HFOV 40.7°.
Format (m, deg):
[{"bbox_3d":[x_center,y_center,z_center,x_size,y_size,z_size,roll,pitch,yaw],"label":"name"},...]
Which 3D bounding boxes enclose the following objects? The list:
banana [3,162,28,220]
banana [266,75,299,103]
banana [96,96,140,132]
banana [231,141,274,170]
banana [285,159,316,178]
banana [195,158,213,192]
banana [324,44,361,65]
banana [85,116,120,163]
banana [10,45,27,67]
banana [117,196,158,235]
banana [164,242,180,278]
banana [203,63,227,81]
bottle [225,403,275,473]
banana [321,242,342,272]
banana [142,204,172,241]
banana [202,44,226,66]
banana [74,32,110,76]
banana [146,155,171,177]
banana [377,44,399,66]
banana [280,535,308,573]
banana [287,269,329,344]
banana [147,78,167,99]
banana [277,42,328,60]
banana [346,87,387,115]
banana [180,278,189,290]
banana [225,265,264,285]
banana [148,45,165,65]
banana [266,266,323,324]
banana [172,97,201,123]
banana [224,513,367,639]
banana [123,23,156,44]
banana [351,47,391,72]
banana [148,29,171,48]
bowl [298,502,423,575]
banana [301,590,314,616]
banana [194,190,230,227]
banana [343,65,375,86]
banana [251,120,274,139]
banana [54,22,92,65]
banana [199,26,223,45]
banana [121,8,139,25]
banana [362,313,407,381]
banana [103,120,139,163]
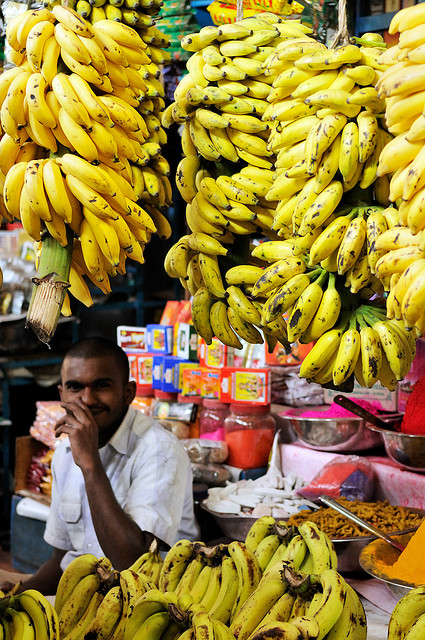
[{"bbox_3d":[-0.314,-0.206,0.898,0.022,0.069,0.055,2,-6,-31],"label":"banana"},{"bbox_3d":[0.108,-0.368,0.936,0.024,0.020,0.066,23,-34,-33],"label":"banana"},{"bbox_3d":[-0.142,-0.319,0.889,0.029,0.039,0.103,-22,6,7],"label":"banana"},{"bbox_3d":[0.078,-0.313,1.085,0.083,0.022,0.029,24,33,-2],"label":"banana"},{"bbox_3d":[0.134,-0.231,0.893,0.020,0.018,0.057,9,-3,-14],"label":"banana"},{"bbox_3d":[-0.019,-0.302,1.177,0.025,0.093,0.036,-1,-17,9],"label":"banana"},{"bbox_3d":[0.196,-0.395,0.857,0.056,0.029,0.021,-10,35,-5],"label":"banana"},{"bbox_3d":[-0.163,-0.269,0.857,0.023,0.079,0.026,-40,18,-21],"label":"banana"},{"bbox_3d":[-0.319,-0.429,0.932,0.023,0.029,0.013,0,16,-8],"label":"banana"},{"bbox_3d":[-0.126,-0.175,0.970,0.027,0.025,0.078,47,5,38],"label":"banana"},{"bbox_3d":[-0.090,-0.136,1.281,0.028,0.074,0.021,0,6,-5],"label":"banana"},{"bbox_3d":[0.001,-0.455,1.054,0.049,0.023,0.023,24,17,35],"label":"banana"},{"bbox_3d":[0.139,0.515,2.523,0.200,0.273,0.215,1,-11,0],"label":"bottle"},{"bbox_3d":[0.183,-0.099,0.906,0.021,0.040,0.014,18,35,-24],"label":"banana"},{"bbox_3d":[-0.105,-0.193,1.203,0.029,0.103,0.035,-8,45,30],"label":"banana"},{"bbox_3d":[0.000,-0.493,1.069,0.023,0.030,0.058,15,19,-40],"label":"banana"},{"bbox_3d":[-0.176,-0.399,0.858,0.022,0.079,0.028,-30,12,22],"label":"banana"},{"bbox_3d":[-0.100,-0.293,1.097,0.062,0.033,0.020,26,0,24],"label":"banana"},{"bbox_3d":[0.224,-0.335,0.728,0.023,0.019,0.069,31,36,18],"label":"banana"},{"bbox_3d":[0.125,0.363,0.899,0.018,0.021,0.064,6,32,23],"label":"banana"},{"bbox_3d":[0.146,-0.017,0.939,0.036,0.130,0.044,32,-4,-11],"label":"banana"},{"bbox_3d":[-0.111,-0.462,1.136,0.016,0.018,0.056,-25,63,-22],"label":"banana"},{"bbox_3d":[0.137,-0.426,0.904,0.100,0.028,0.029,-12,18,-20],"label":"banana"},{"bbox_3d":[0.224,-0.316,0.824,0.027,0.035,0.100,-25,-5,43],"label":"banana"},{"bbox_3d":[-0.066,-0.083,1.322,0.013,0.036,0.010,-19,26,-5],"label":"banana"},{"bbox_3d":[0.060,-0.084,1.097,0.063,0.022,0.033,-3,38,19],"label":"banana"},{"bbox_3d":[-0.109,-0.517,1.135,0.014,0.050,0.017,-24,-3,-25],"label":"banana"},{"bbox_3d":[0.121,-0.039,0.935,0.037,0.136,0.048,43,-3,9],"label":"banana"},{"bbox_3d":[-0.057,-0.398,1.101,0.046,0.022,0.068,-22,-5,-2],"label":"banana"},{"bbox_3d":[0.111,0.375,0.838,0.134,0.093,0.272,-15,21,-4],"label":"banana"},{"bbox_3d":[-0.136,-0.536,1.098,0.071,0.019,0.023,33,-4,5],"label":"banana"},{"bbox_3d":[0.248,-0.403,0.890,0.036,0.024,0.102,-12,14,5],"label":"banana"},{"bbox_3d":[-0.097,-0.561,1.141,0.017,0.020,0.065,-34,-8,39],"label":"banana"},{"bbox_3d":[0.414,0.573,1.601,0.397,0.153,0.403,-2,-8,0],"label":"bowl"},{"bbox_3d":[0.126,0.380,0.766,0.012,0.007,0.034,7,61,19],"label":"banana"},{"bbox_3d":[-0.019,-0.216,1.145,0.040,0.033,0.111,4,29,-47],"label":"banana"},{"bbox_3d":[0.217,-0.363,0.854,0.046,0.022,0.021,2,15,-26],"label":"banana"},{"bbox_3d":[0.098,-0.360,1.081,0.023,0.014,0.041,-29,5,-13],"label":"banana"},{"bbox_3d":[-0.209,-0.408,0.846,0.085,0.028,0.028,41,8,25],"label":"banana"},{"bbox_3d":[-0.003,-0.534,1.078,0.023,0.020,0.060,3,10,-22],"label":"banana"},{"bbox_3d":[-0.148,-0.543,1.024,0.039,0.019,0.014,47,4,30],"label":"banana"},{"bbox_3d":[0.283,0.044,0.908,0.033,0.121,0.043,-19,-7,-41],"label":"banana"},{"bbox_3d":[-0.144,-0.285,0.920,0.023,0.018,0.065,40,-6,44],"label":"banana"}]
